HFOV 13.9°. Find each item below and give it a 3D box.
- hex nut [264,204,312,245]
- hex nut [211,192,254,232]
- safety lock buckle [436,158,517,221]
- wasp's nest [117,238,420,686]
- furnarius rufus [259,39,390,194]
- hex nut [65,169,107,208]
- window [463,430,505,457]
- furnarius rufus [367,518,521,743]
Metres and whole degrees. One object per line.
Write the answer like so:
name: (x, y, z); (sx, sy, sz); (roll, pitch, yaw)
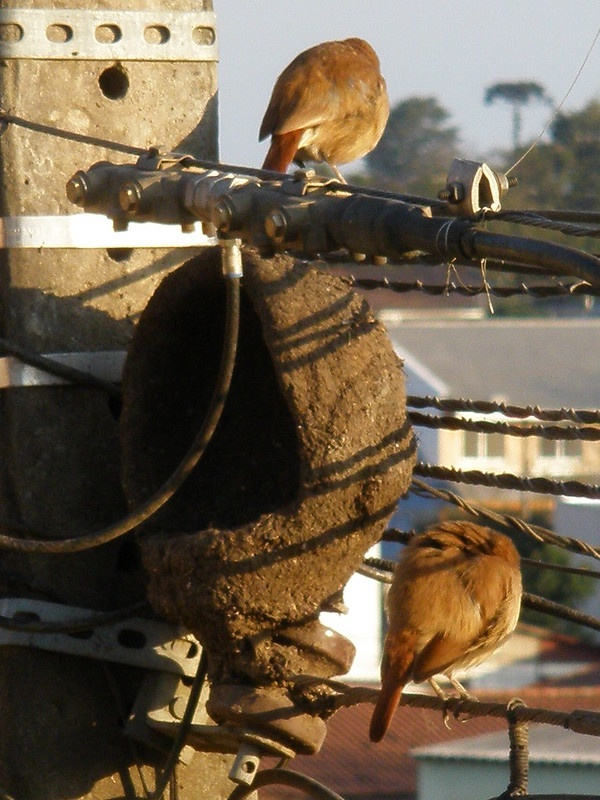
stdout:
hex nut: (-0.023, -0.481, 6.705); (0.129, 0.116, 0.069); (1, 8, -5)
hex nut: (-0.179, -0.521, 6.814); (0.107, 0.121, 0.075); (0, 8, -13)
safety lock buckle: (0.484, -0.561, 6.579); (0.227, 0.173, 0.092); (-14, -4, -29)
wasp's nest: (-0.116, 0.182, 7.030); (0.743, 1.595, 1.027); (2, -9, -38)
furnarius rufus: (0.109, -1.313, 11.135); (0.688, 0.790, 0.519); (8, -11, -41)
hex nut: (-0.626, -0.622, 7.235); (0.093, 0.119, 0.118); (1, 11, 20)
window: (2.323, 0.539, 30.865); (0.518, 0.321, 0.874); (3, 8, 4)
furnarius rufus: (0.416, 0.604, 7.058); (0.360, 0.650, 0.789); (0, 10, -3)
